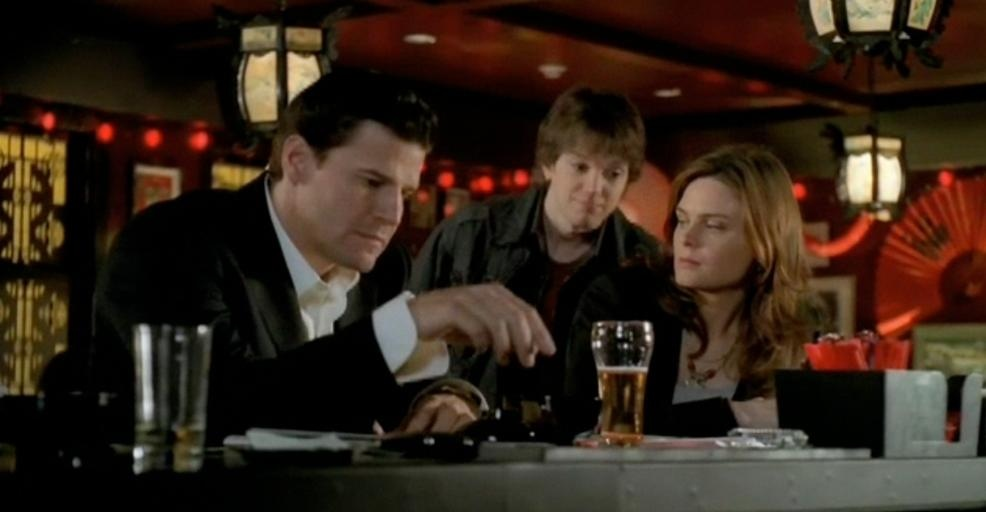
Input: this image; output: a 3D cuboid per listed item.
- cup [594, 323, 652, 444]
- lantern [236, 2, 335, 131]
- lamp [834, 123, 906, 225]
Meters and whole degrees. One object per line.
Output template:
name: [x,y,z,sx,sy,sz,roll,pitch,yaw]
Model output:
cup: [0.408,0.406,3.582,0.188,0.393,0.190,0,-8,0]
lantern: [-0.828,-0.729,4.422,0.377,0.487,0.261,2,-8,-11]
lamp: [1.699,-0.363,5.018,0.369,0.414,0.120,0,3,-12]
